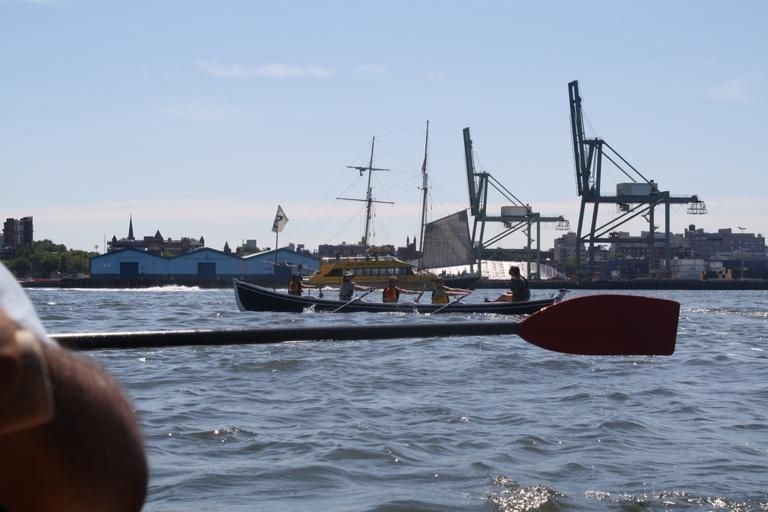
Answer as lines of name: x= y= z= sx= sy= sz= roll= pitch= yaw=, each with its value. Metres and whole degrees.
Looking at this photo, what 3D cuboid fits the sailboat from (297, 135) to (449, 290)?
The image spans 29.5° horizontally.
sailboat: x=-1.483 y=-2.912 z=107.892 sx=11.981 sy=10.334 sz=4.282 roll=-3 pitch=19 yaw=-44
